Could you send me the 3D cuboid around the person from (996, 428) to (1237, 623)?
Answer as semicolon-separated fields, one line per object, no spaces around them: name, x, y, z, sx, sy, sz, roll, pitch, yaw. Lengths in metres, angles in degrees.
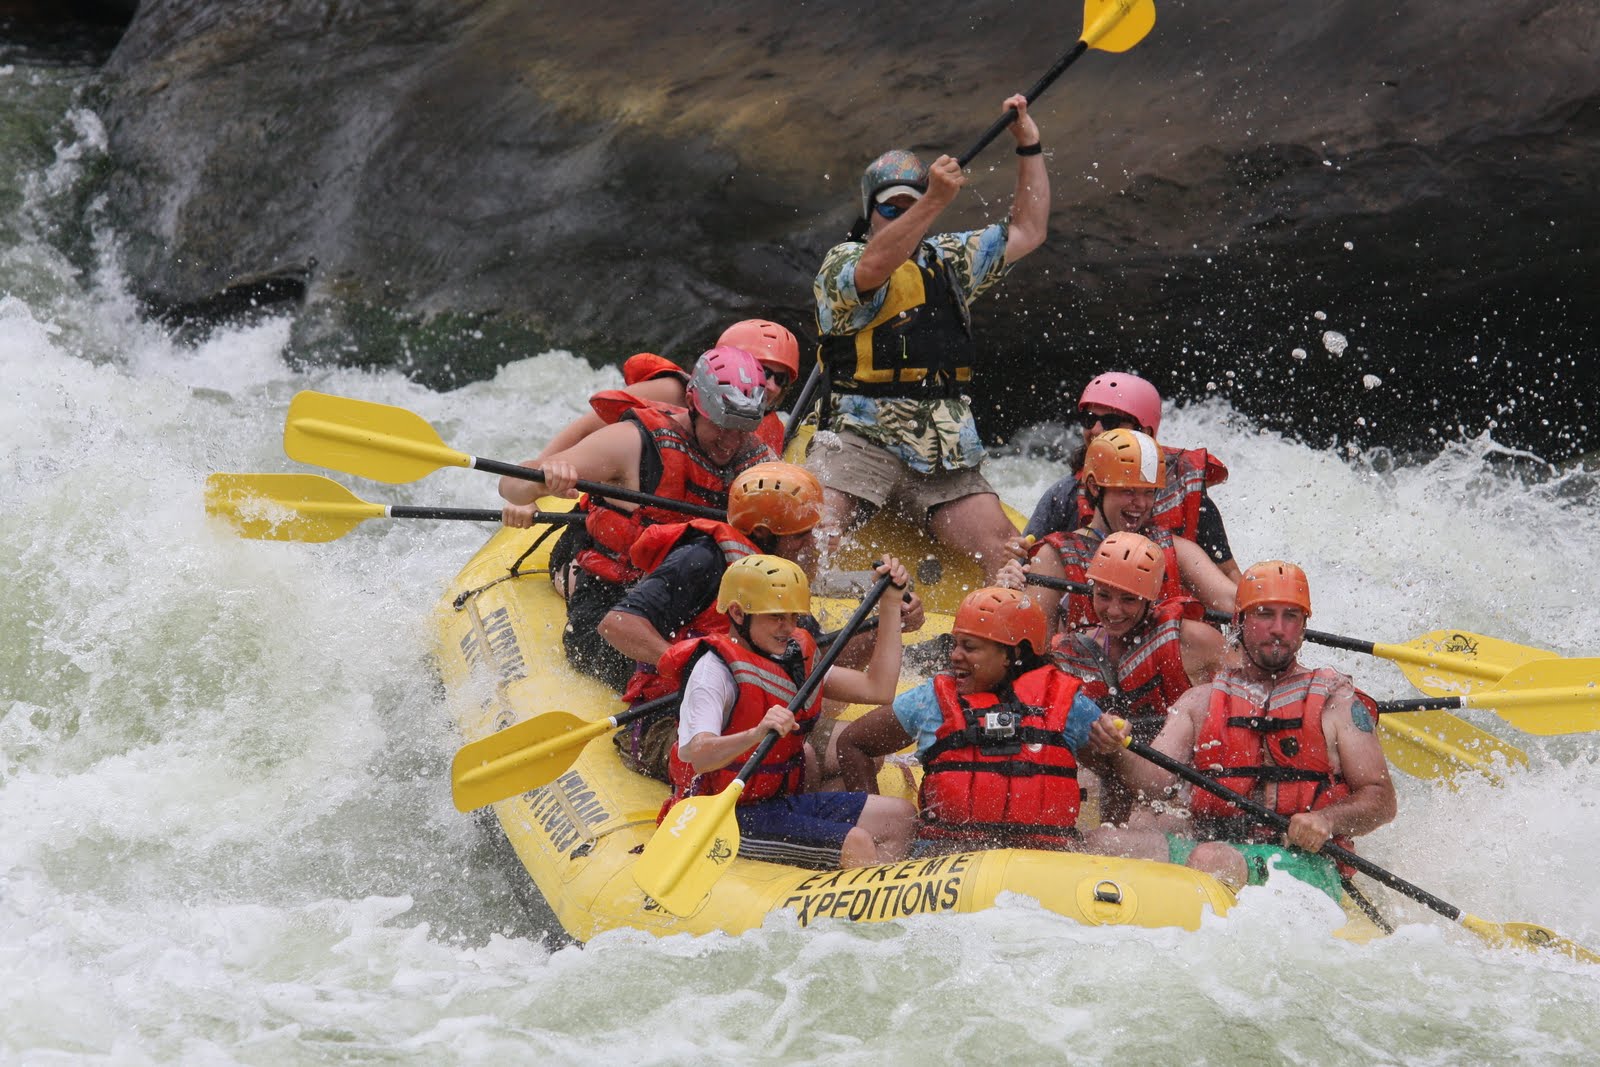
person;1.645;-0.018;10.763;0.966;0.458;1.407;5;39;13

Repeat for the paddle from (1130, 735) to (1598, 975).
paddle;2.543;1.512;9.750;2.078;0.291;0.092;22;49;3

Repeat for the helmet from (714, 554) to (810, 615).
helmet;-0.171;0.245;9.771;0.341;0.261;0.206;16;101;27

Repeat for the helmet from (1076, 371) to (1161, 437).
helmet;1.641;-0.685;10.880;0.285;0.372;0.297;18;107;43

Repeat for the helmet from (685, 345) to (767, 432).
helmet;-0.378;-0.728;10.548;0.303;0.337;0.427;3;67;-14

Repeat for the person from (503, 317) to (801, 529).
person;-0.971;-0.552;11.151;1.912;1.069;0.754;0;95;45

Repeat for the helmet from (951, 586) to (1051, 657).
helmet;0.899;0.380;9.851;0.379;0.493;0.319;20;105;47

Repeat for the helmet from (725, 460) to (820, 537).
helmet;-0.132;-0.173;10.359;0.528;0.413;0.325;0;103;26

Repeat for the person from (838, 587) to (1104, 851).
person;0.803;0.898;9.824;1.007;0.514;1.428;-1;68;0

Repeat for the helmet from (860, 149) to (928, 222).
helmet;0.521;-1.859;11.199;0.335;0.547;0.319;3;92;1
